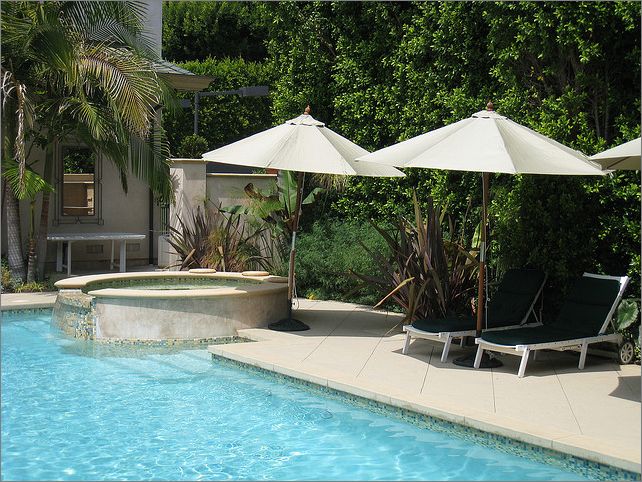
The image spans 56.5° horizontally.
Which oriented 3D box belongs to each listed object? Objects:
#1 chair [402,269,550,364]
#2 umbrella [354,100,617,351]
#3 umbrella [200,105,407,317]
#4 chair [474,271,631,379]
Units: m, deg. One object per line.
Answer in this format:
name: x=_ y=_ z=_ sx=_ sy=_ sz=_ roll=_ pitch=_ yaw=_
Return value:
chair: x=2.154 y=1.019 z=8.641 sx=1.914 sy=1.523 sz=1.078 roll=2 pitch=-3 yaw=-28
umbrella: x=2.136 y=-0.554 z=8.330 sx=2.678 sy=3.319 sz=2.794 roll=-1 pitch=4 yaw=-23
umbrella: x=-0.357 y=-0.704 z=9.833 sx=2.456 sy=2.858 sz=2.888 roll=5 pitch=5 yaw=31
chair: x=3.017 y=1.089 z=8.052 sx=1.790 sy=1.427 sz=1.202 roll=1 pitch=-1 yaw=-24
